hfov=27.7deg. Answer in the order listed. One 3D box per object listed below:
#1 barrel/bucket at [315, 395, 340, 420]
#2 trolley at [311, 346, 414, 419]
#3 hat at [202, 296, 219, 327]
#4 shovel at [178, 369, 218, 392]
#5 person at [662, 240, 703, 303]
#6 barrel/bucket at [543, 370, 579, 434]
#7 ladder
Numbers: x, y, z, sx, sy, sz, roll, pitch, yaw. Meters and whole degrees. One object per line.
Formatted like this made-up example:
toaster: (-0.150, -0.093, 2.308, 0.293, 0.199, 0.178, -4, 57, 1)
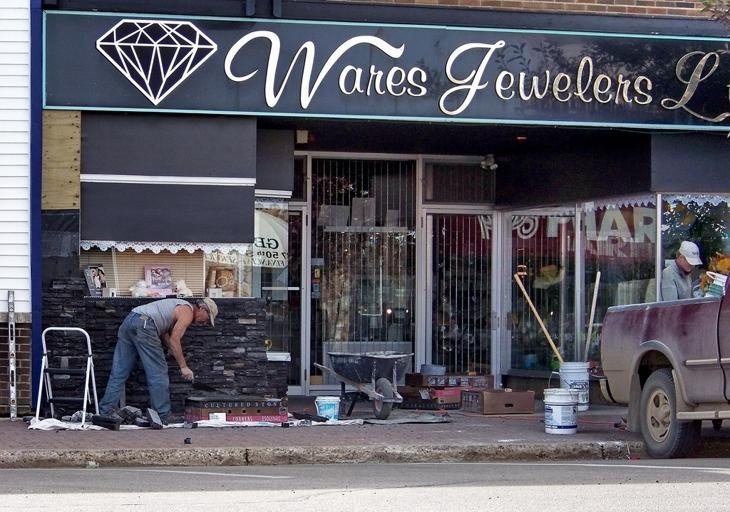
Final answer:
barrel/bucket: (-0.543, 2.244, 21.947, 0.317, 0.269, 0.328, 0, -10, 0)
trolley: (0.080, 1.973, 22.744, 1.208, 1.008, 2.210, -1, -4, 2)
hat: (-2.294, 0.836, 22.097, 0.152, 0.373, 0.266, -17, -1, -7)
shovel: (-2.520, 1.859, 22.115, 0.601, 0.082, 0.065, 31, 25, -2)
person: (4.906, 0.270, 22.557, 0.659, 1.111, 0.664, 3, 7, 1)
barrel/bucket: (2.709, 2.188, 20.778, 0.585, 0.578, 0.546, 0, -5, 0)
ladder: (-4.345, 1.722, 21.511, 0.986, 1.405, 1.217, 0, -4, -5)
